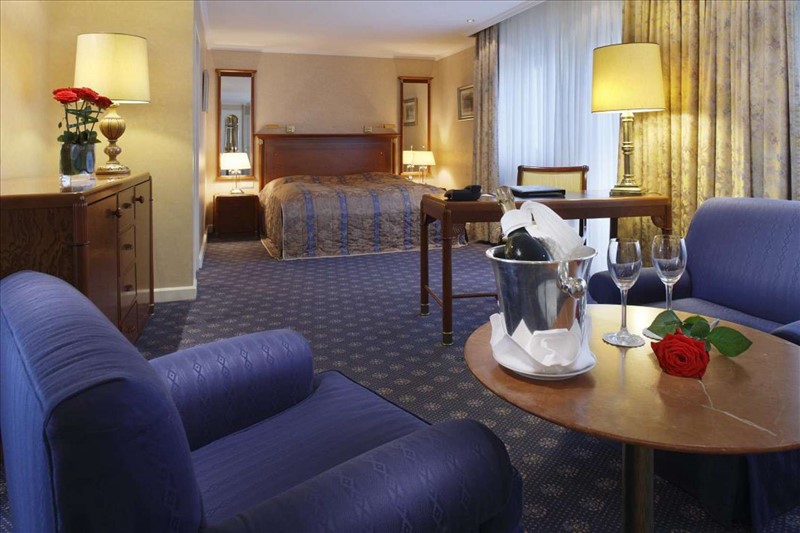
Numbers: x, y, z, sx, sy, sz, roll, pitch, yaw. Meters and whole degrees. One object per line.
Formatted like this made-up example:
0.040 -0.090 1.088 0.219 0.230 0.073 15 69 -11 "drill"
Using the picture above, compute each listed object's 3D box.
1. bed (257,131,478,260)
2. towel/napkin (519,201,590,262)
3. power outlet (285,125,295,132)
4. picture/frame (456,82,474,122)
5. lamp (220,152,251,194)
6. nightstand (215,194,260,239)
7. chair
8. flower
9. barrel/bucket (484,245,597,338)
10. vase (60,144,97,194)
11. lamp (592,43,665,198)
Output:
-0.893 -0.959 7.656 2.176 1.476 2.239 -3 9 -17 "bed"
0.443 -0.093 1.698 0.163 0.060 0.094 15 2 -26 "towel/napkin"
-1.641 -2.073 8.538 0.095 0.072 0.095 -4 13 -12 "power outlet"
0.938 -2.391 8.288 0.088 0.487 0.466 -6 11 -12 "picture/frame"
-2.356 -1.345 8.198 0.415 0.578 0.429 -2 7 -10 "lamp"
-2.354 -0.701 8.213 0.602 0.624 0.620 -1 4 -17 "nightstand"
1.382 -0.573 5.183 0.588 1.033 0.618 0 4 -5 "chair"
-1.781 -0.721 3.181 0.339 0.522 0.324 8 9 30 "flower"
0.423 0.041 1.728 0.257 0.223 0.256 -6 9 1 "barrel/bucket"
-1.771 -0.556 3.139 0.171 0.239 0.180 6 10 10 "vase"
1.571 -1.025 3.998 0.447 0.987 0.626 -1 11 16 "lamp"
